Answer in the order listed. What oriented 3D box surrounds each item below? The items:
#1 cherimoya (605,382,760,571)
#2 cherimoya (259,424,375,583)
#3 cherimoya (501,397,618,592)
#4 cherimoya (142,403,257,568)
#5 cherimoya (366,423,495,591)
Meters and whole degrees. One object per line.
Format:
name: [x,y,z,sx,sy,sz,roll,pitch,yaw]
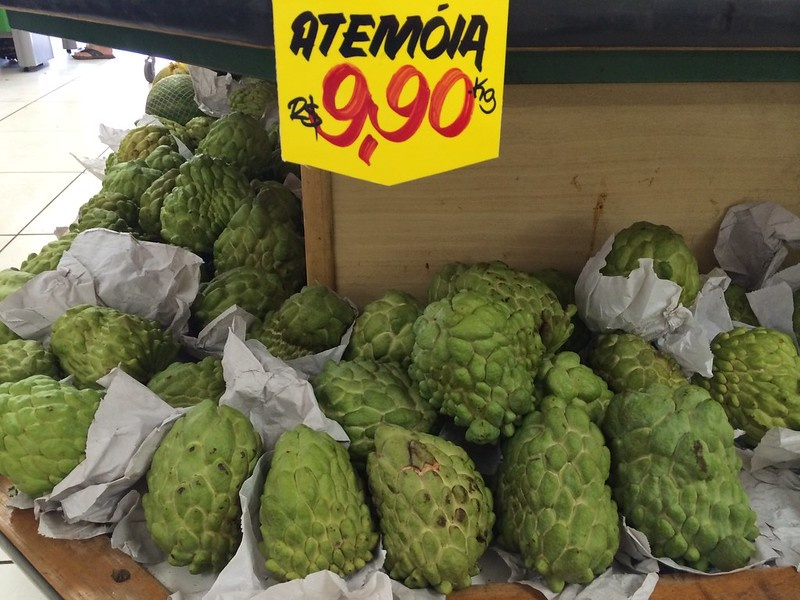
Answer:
cherimoya: [0.561,0.338,1.387,0.242,0.167,0.366,-12,64,7]
cherimoya: [-0.153,0.384,1.276,0.201,0.197,0.203,3,21,-1]
cherimoya: [0.321,0.380,1.390,0.222,0.338,0.156,13,-7,8]
cherimoya: [-0.395,0.371,1.325,0.227,0.282,0.185,1,21,-5]
cherimoya: [0.041,0.426,1.365,0.215,0.128,0.286,-26,73,-19]
